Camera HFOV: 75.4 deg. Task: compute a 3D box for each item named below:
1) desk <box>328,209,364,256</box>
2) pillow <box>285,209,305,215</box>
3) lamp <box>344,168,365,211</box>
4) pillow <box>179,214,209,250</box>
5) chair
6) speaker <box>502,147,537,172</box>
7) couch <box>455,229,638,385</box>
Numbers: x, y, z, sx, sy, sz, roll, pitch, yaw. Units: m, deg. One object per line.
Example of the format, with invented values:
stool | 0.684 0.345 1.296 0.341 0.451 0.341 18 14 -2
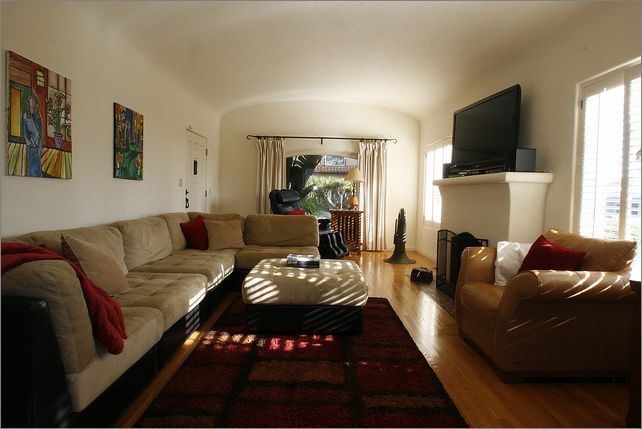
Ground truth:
desk | 0.497 0.313 8.048 0.617 0.812 0.639 4 -1 9
pillow | -0.420 -0.041 6.760 0.068 0.082 0.343 -19 -19 42
lamp | 0.629 -0.462 7.919 0.413 0.799 0.411 -2 -9 27
pillow | -1.558 0.250 5.205 0.119 0.348 0.383 -24 -2 36
chair | -0.199 0.152 6.806 1.200 1.145 0.884 4 6 25
speaker | 2.158 -0.588 4.545 0.276 0.263 0.268 1 3 3
couch | 1.822 0.734 3.661 1.046 1.245 1.382 1 -2 4
